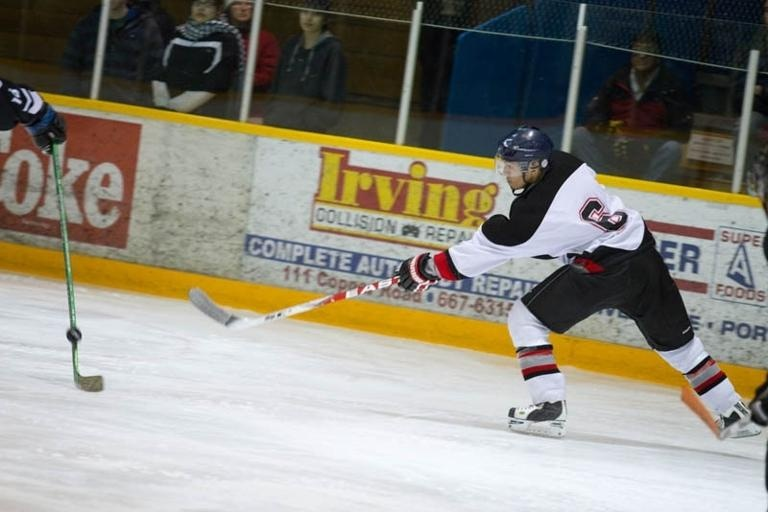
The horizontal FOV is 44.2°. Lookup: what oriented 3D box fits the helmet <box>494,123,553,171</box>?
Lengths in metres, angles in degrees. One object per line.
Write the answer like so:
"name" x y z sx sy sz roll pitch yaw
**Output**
"helmet" 0.837 -0.643 5.614 0.378 0.241 0.246 1 15 8
